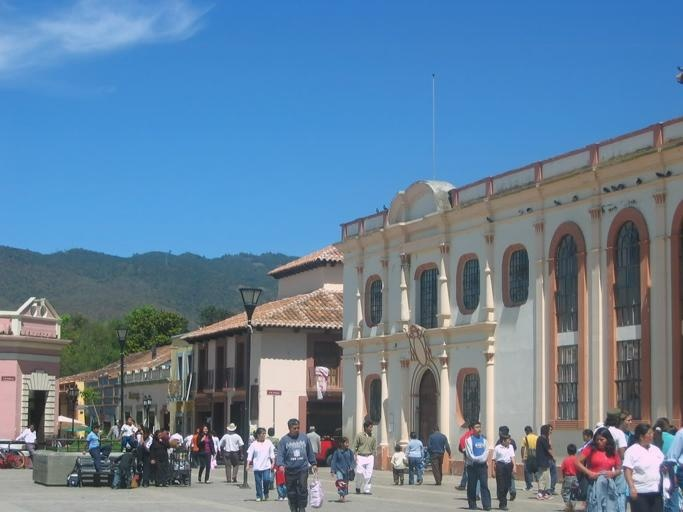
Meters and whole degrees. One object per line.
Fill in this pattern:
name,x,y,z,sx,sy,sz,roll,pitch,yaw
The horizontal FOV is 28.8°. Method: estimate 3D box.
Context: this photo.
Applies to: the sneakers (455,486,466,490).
sneakers,4.049,7.978,45.670,0.350,0.155,0.141,3,-3,26
